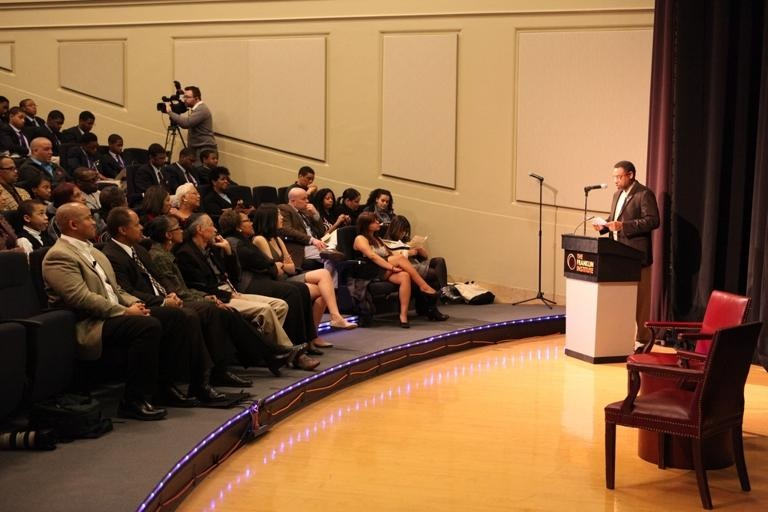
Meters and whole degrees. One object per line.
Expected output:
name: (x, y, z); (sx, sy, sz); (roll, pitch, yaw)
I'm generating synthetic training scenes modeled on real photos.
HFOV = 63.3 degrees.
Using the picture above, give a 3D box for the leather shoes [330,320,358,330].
leather shoes: (-0.366, 0.667, 6.075); (0.281, 0.138, 0.111); (-7, -6, 13)

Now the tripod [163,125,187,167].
tripod: (-2.849, -1.494, 8.422); (0.374, 0.546, 0.379); (14, 15, 38)

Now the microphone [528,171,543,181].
microphone: (1.875, -0.943, 7.592); (0.177, 0.130, 0.467); (4, 12, 13)

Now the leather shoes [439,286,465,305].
leather shoes: (0.823, 0.492, 7.515); (0.181, 0.259, 0.084); (-43, 14, -16)

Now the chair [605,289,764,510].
chair: (1.927, 0.836, 3.894); (0.784, 1.029, 1.123); (9, 14, 33)

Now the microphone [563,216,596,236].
microphone: (2.435, -0.357, 7.756); (0.213, 0.300, 0.758); (13, 2, 10)

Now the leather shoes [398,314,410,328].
leather shoes: (0.212, 0.691, 6.511); (0.083, 0.110, 0.273); (1, -11, -4)

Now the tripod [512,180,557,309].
tripod: (1.941, -0.184, 7.657); (0.458, 1.559, 0.622); (4, 13, 14)

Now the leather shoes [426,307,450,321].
leather shoes: (0.577, 0.639, 6.789); (0.267, 0.203, 0.108); (-3, 3, 0)

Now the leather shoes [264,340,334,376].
leather shoes: (-0.689, 0.786, 5.026); (0.537, 0.259, 0.178); (-10, 20, -13)

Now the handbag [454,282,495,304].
handbag: (1.133, 0.467, 7.643); (0.318, 0.107, 0.312); (2, 20, -26)

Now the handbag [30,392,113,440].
handbag: (-1.885, 0.938, 3.757); (0.319, 0.150, 0.269); (5, 1, 16)

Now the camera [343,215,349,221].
camera: (-0.433, -0.416, 7.049); (0.053, 0.024, 0.070); (9, -2, 1)
